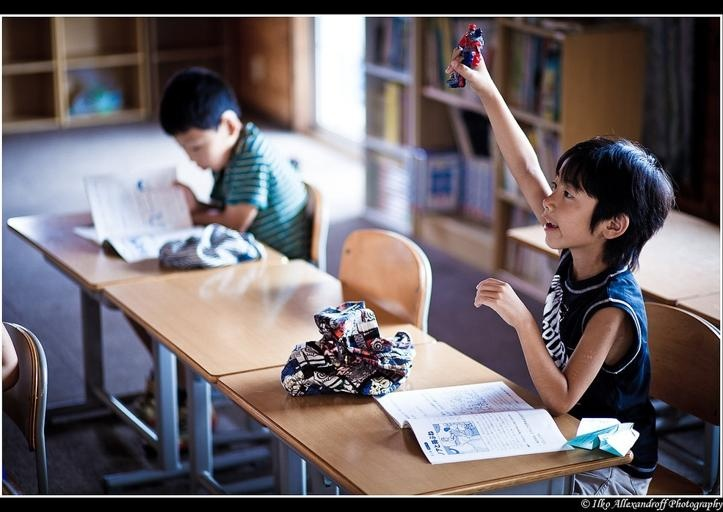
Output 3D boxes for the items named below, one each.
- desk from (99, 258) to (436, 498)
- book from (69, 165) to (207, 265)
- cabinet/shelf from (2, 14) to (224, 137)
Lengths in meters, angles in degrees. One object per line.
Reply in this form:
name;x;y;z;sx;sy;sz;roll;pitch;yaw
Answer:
desk;-0.300;0.277;1.753;0.581;0.390;0.748;-12;23;-29
book;-0.764;-0.151;2.063;0.364;0.357;0.151;-10;-8;-34
cabinet/shelf;-2.362;-1.586;5.368;2.250;1.070;0.512;-6;10;-35
